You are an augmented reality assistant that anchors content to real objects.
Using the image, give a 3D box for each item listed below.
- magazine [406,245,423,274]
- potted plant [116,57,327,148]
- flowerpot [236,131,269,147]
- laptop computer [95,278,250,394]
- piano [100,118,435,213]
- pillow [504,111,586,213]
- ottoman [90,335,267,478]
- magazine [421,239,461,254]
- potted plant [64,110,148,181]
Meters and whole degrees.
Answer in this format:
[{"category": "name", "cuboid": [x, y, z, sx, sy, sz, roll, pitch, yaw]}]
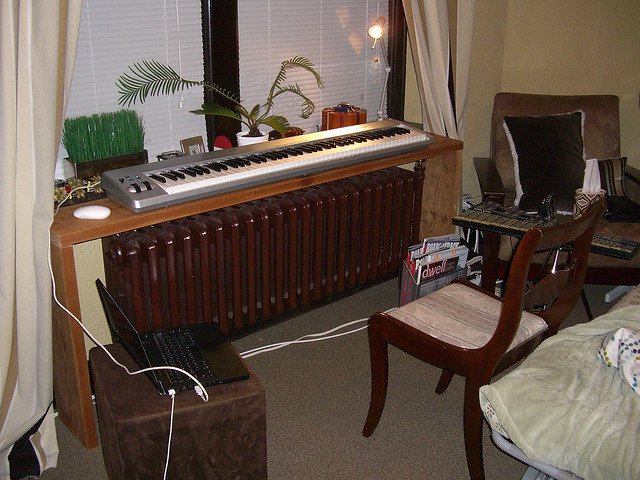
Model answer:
[{"category": "magazine", "cuboid": [0.468, 0.101, 2.439, 0.025, 0.117, 0.083, 11, 13, 34]}, {"category": "potted plant", "cuboid": [-0.532, -0.754, 2.655, 0.939, 0.434, 0.601, -10, 46, -29]}, {"category": "flowerpot", "cuboid": [-0.355, -0.522, 2.657, 0.129, 0.095, 0.123, -17, 33, -32]}, {"category": "laptop computer", "cuboid": [-0.592, 0.362, 1.889, 0.358, 0.273, 0.538, -11, 22, -33]}, {"category": "piano", "cuboid": [-0.215, -0.380, 2.349, 1.547, 0.188, 0.314, -20, 26, -30]}, {"category": "pillow", "cuboid": [1.362, -0.488, 2.942, 0.518, 0.610, 0.172, -4, -8, 17]}, {"category": "ottoman", "cuboid": [-0.467, 0.556, 1.628, 0.440, 0.361, 0.666, -10, 20, -32]}, {"category": "magazine", "cuboid": [0.605, 0.027, 2.510, 0.132, 0.036, 0.097, -11, 27, -22]}, {"category": "potted plant", "cuboid": [-0.958, -0.386, 2.241, 0.321, 0.366, 0.130, -13, -10, -23]}]
